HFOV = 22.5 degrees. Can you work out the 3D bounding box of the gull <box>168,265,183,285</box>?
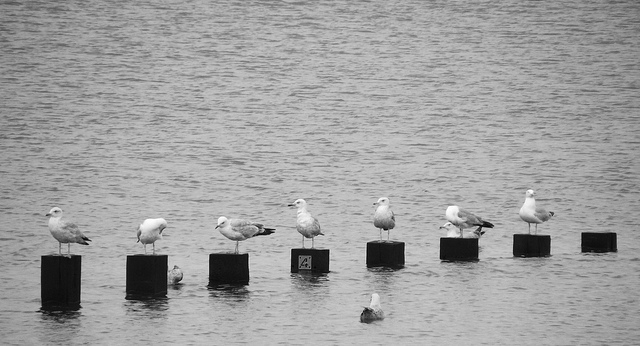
[{"bbox_3d":[-11.180,7.887,124.426,1.075,1.453,0.460,-1,-8,-4],"label":"gull"}]
